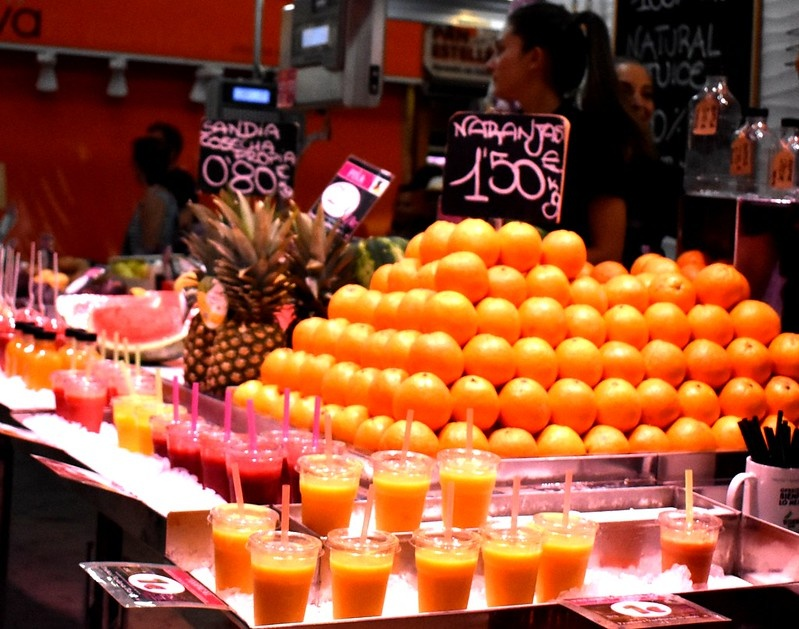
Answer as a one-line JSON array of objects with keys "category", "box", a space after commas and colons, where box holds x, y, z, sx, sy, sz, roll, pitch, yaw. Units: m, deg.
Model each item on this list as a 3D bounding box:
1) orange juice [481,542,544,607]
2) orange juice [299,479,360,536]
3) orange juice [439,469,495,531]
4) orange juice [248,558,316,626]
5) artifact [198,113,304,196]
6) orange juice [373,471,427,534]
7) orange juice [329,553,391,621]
[{"category": "orange juice", "box": [0.243, 0.552, 1.704, 0.127, 0.155, 0.133, 1, -5, -6]}, {"category": "orange juice", "box": [-0.166, 0.459, 1.912, 0.124, 0.149, 0.126, -1, -3, 43]}, {"category": "orange juice", "box": [0.176, 0.446, 1.937, 0.136, 0.148, 0.155, 2, 7, 14]}, {"category": "orange juice", "box": [-0.226, 0.545, 1.567, 0.122, 0.151, 0.131, 3, -9, -4]}, {"category": "artifact", "box": [-0.744, -0.781, 3.853, 0.501, 0.379, 0.325, -2, 11, -22]}, {"category": "orange juice", "box": [0.001, 0.452, 1.933, 0.135, 0.161, 0.150, 3, -1, -20]}, {"category": "orange juice", "box": [-0.084, 0.537, 1.582, 0.124, 0.142, 0.129, 5, -5, -14]}]
